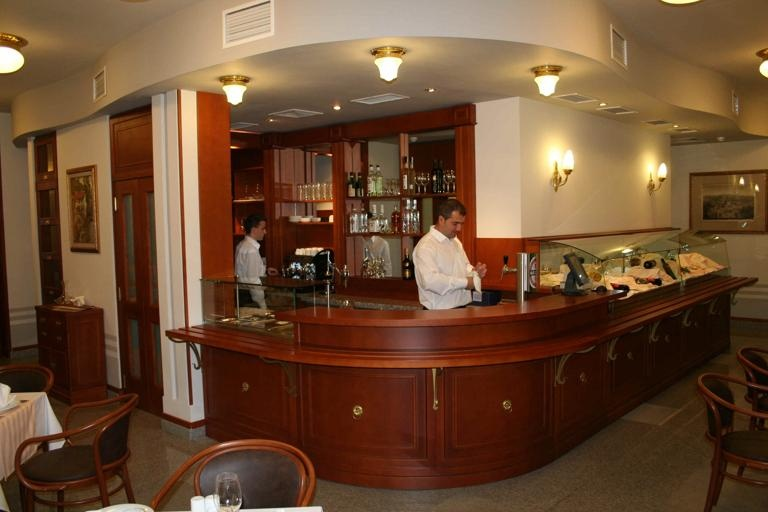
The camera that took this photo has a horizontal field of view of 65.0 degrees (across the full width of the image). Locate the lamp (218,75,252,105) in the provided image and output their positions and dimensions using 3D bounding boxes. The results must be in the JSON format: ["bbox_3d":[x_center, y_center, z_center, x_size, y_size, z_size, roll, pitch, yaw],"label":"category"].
[{"bbox_3d":[-1.549,-1.753,6.312,0.283,0.202,0.275,0,2,38],"label":"lamp"}]

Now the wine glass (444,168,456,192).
[{"bbox_3d":[0.865,-0.983,7.921,0.120,0.283,0.210,-4,15,-10],"label":"wine glass"}]

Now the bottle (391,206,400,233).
[{"bbox_3d":[0.169,-0.468,8.268,0.101,0.286,0.196,-2,15,-6],"label":"bottle"}]

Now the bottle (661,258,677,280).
[{"bbox_3d":[3.656,0.173,7.787,0.301,0.070,0.085,37,-20,-30],"label":"bottle"}]

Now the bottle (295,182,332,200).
[{"bbox_3d":[-1.078,-0.979,9.191,0.416,0.135,0.307,3,5,36],"label":"bottle"}]

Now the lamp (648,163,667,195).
[{"bbox_3d":[4.708,-1.343,10.363,0.147,0.514,0.865,10,18,36],"label":"lamp"}]

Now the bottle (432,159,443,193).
[{"bbox_3d":[0.706,-1.062,8.039,0.159,0.406,0.307,0,15,4],"label":"bottle"}]

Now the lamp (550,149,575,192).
[{"bbox_3d":[2.396,-1.143,8.058,0.173,0.528,0.483,10,18,35],"label":"lamp"}]

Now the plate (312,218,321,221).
[{"bbox_3d":[-1.057,-0.568,9.324,0.131,0.054,0.077,1,15,8],"label":"plate"}]

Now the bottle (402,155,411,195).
[{"bbox_3d":[0.292,-1.108,8.170,0.112,0.487,0.115,-1,15,0],"label":"bottle"}]

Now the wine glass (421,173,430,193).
[{"bbox_3d":[0.563,-0.997,8.182,0.117,0.244,0.143,-1,15,1],"label":"wine glass"}]

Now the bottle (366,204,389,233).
[{"bbox_3d":[-0.083,-0.542,8.480,0.298,0.356,0.413,-1,15,-3],"label":"bottle"}]

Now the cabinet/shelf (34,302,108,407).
[{"bbox_3d":[-3.876,1.256,7.574,0.576,1.235,1.356,0,1,-43],"label":"cabinet/shelf"}]

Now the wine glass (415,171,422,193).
[{"bbox_3d":[0.464,-1.005,8.222,0.077,0.253,0.163,-1,15,-3],"label":"wine glass"}]

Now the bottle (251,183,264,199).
[{"bbox_3d":[-2.007,-1.027,9.618,0.153,0.199,0.426,-4,15,-12],"label":"bottle"}]

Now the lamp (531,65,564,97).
[{"bbox_3d":[1.692,-1.855,6.396,0.320,0.264,0.284,-6,10,-27],"label":"lamp"}]

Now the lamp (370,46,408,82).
[{"bbox_3d":[0.038,-1.826,5.766,0.340,0.286,0.338,-1,2,19],"label":"lamp"}]

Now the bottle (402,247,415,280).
[{"bbox_3d":[0.318,0.097,8.223,0.152,0.374,0.343,0,15,1],"label":"bottle"}]

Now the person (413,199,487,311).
[{"bbox_3d":[0.762,0.026,6.526,0.801,1.253,0.835,-8,16,-25],"label":"person"}]

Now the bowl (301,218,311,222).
[{"bbox_3d":[-1.204,-0.562,9.316,0.140,0.062,0.068,-3,15,-7],"label":"bowl"}]
